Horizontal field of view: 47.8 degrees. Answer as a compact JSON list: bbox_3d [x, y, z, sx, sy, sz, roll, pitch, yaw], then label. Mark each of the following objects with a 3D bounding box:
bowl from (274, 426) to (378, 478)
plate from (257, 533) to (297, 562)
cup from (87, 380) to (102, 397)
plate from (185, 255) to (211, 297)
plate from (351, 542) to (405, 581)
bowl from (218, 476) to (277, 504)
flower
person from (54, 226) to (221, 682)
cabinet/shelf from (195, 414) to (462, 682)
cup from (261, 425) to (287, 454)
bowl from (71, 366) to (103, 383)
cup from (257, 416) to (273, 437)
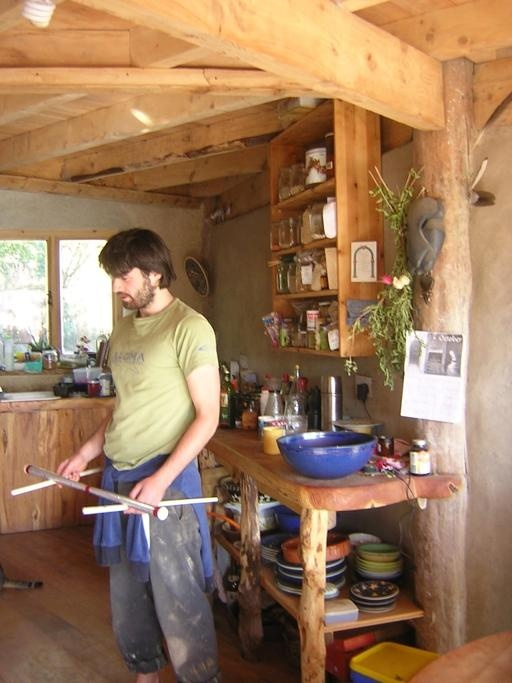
[{"bbox_3d":[0.241,0.401,2.000,0.327,0.133,0.348,-1,1,0],"label":"bowl"},{"bbox_3d":[0.072,0.878,2.470,0.129,0.040,0.127,1,1,19],"label":"plate"},{"bbox_3d":[-1.157,0.340,4.126,0.108,0.112,0.105,1,-2,0],"label":"cup"},{"bbox_3d":[-0.528,-0.606,5.276,0.067,0.309,0.317,-21,32,-26],"label":"plate"},{"bbox_3d":[0.495,0.862,2.268,0.134,0.078,0.132,1,-1,-44],"label":"plate"},{"bbox_3d":[-0.097,0.737,2.808,0.215,0.077,0.229,1,5,0],"label":"bowl"},{"bbox_3d":[0.485,-0.256,2.260,0.270,0.942,0.555,-1,1,8],"label":"flower"},{"bbox_3d":[-0.351,0.461,1.909,0.437,1.711,0.689,-2,1,-26],"label":"person"},{"bbox_3d":[0.111,0.743,2.360,0.786,1.046,1.122,-2,5,-25],"label":"cabinet/shelf"},{"bbox_3d":[0.062,0.402,2.370,0.110,0.115,0.106,0,0,0],"label":"cup"},{"bbox_3d":[-1.268,0.258,4.361,0.179,0.117,0.141,-4,-4,21],"label":"bowl"},{"bbox_3d":[0.043,0.390,2.616,0.075,0.076,0.073,1,1,0],"label":"cup"}]
